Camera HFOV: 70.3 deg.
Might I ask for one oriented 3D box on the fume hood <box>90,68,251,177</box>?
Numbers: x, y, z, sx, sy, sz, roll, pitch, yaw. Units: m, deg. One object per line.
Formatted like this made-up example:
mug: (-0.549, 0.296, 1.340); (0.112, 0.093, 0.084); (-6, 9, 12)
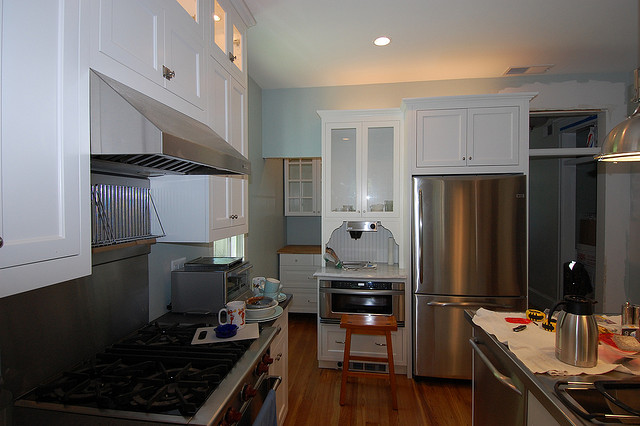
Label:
fume hood: (-0.878, -0.503, 2.813); (0.529, 0.431, 0.977); (2, -2, 15)

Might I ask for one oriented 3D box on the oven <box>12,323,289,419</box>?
oven: (-0.910, 1.027, 2.753); (1.310, 0.500, 0.823); (-1, 13, -5)

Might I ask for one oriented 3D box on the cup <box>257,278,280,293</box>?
cup: (-0.399, 0.574, 3.516); (0.152, 0.098, 0.085); (-1, -7, 9)

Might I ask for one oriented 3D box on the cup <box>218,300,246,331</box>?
cup: (-0.597, 0.711, 3.075); (0.200, 0.163, 0.121); (-8, -8, 0)

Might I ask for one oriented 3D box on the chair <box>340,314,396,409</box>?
chair: (0.416, 1.230, 3.993); (0.462, 0.698, 0.658); (1, 13, 7)

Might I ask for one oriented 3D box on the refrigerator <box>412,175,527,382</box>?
refrigerator: (1.339, 0.495, 4.305); (0.936, 1.933, 0.852); (0, -1, 5)

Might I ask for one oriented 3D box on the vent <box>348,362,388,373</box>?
vent: (0.449, 1.446, 4.193); (0.365, 0.127, 0.096); (-1, 13, -4)
